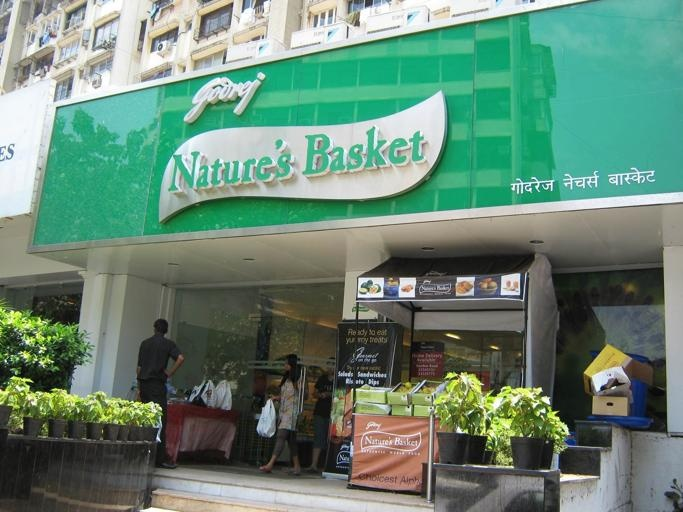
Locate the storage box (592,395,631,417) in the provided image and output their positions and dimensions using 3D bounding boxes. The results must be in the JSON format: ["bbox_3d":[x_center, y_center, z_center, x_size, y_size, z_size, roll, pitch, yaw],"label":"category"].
[{"bbox_3d":[3.571,1.984,7.751,0.408,0.240,0.108,-3,-14,20],"label":"storage box"}]

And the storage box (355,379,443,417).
[{"bbox_3d":[0.812,1.777,7.345,1.215,0.440,0.648,-9,-16,38],"label":"storage box"}]

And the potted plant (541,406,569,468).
[{"bbox_3d":[1.768,1.565,5.062,0.309,0.497,0.366,0,-12,32],"label":"potted plant"}]

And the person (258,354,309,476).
[{"bbox_3d":[-0.918,2.556,9.550,0.562,1.894,1.461,3,-13,-4],"label":"person"}]

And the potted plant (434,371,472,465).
[{"bbox_3d":[1.034,1.474,5.398,0.312,0.777,0.887,0,-13,10],"label":"potted plant"}]

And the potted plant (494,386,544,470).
[{"bbox_3d":[1.602,1.506,4.963,0.460,0.565,0.418,-1,-26,20],"label":"potted plant"}]

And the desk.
[{"bbox_3d":[-2.357,3.093,9.944,1.437,0.665,1.489,-4,-33,7],"label":"desk"}]

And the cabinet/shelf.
[{"bbox_3d":[-0.917,2.443,9.145,0.818,1.813,0.502,12,-23,-25],"label":"cabinet/shelf"}]

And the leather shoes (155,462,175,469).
[{"bbox_3d":[-2.498,2.977,8.276,0.245,0.106,0.085,1,-8,-5],"label":"leather shoes"}]
